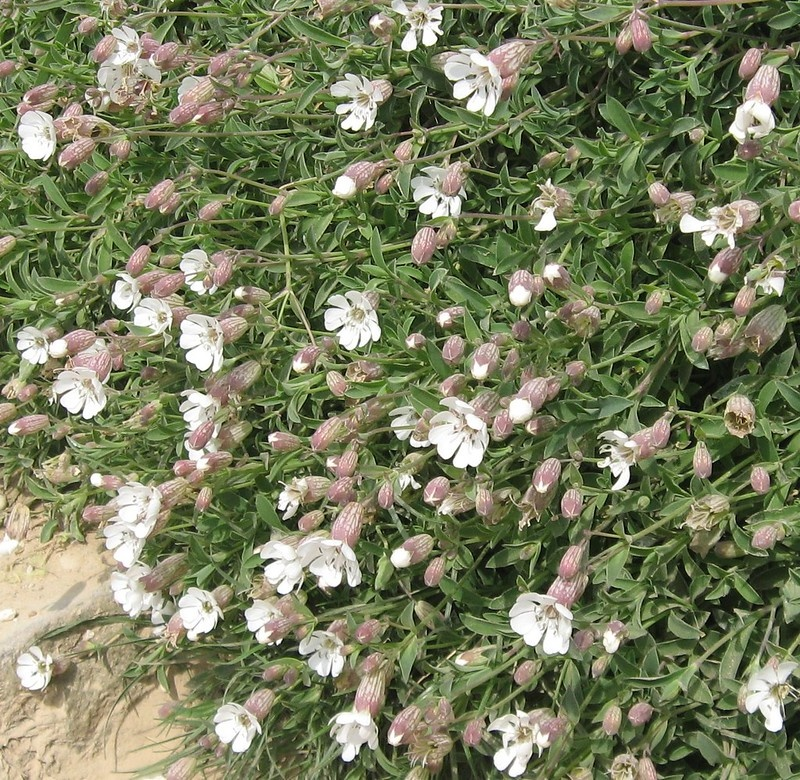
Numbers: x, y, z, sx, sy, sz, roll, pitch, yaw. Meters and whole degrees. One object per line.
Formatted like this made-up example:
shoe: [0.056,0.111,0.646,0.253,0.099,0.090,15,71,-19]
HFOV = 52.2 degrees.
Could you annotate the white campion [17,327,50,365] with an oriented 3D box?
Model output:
white campion: [-1.375,-0.161,3.042,0.110,0.100,0.113,-3,69,7]
